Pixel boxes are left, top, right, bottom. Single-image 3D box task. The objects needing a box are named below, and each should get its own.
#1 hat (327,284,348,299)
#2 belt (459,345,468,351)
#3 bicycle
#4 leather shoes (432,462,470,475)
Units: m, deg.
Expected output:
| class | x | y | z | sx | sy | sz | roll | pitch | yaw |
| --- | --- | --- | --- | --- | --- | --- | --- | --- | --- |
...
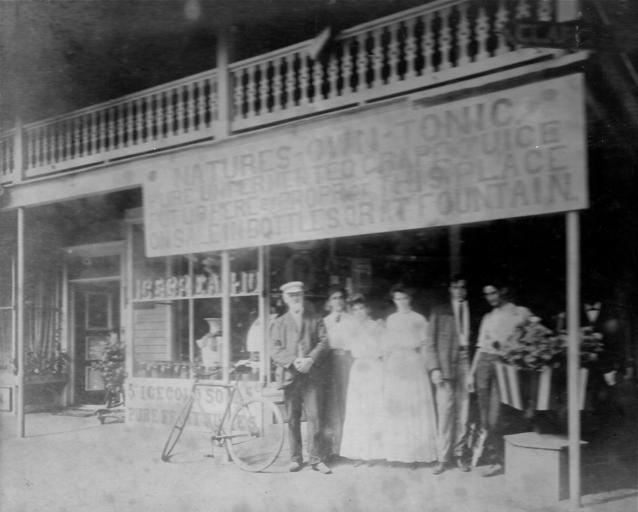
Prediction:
| class | x | y | z | sx | sy | sz | roll | pitch | yaw |
| --- | --- | --- | --- | --- | --- | --- | --- | --- | --- |
| hat | 0.175 | 0.346 | 9.351 | 0.165 | 0.095 | 0.155 | 0 | 2 | 36 |
| belt | 1.353 | 0.860 | 8.976 | 0.060 | 0.037 | 0.060 | 2 | -1 | -43 |
| bicycle | -0.936 | 1.609 | 9.805 | 1.320 | 1.089 | 0.841 | -2 | -7 | 10 |
| leather shoes | 1.233 | 1.957 | 8.916 | 0.257 | 0.056 | 0.143 | -1 | -3 | 10 |
